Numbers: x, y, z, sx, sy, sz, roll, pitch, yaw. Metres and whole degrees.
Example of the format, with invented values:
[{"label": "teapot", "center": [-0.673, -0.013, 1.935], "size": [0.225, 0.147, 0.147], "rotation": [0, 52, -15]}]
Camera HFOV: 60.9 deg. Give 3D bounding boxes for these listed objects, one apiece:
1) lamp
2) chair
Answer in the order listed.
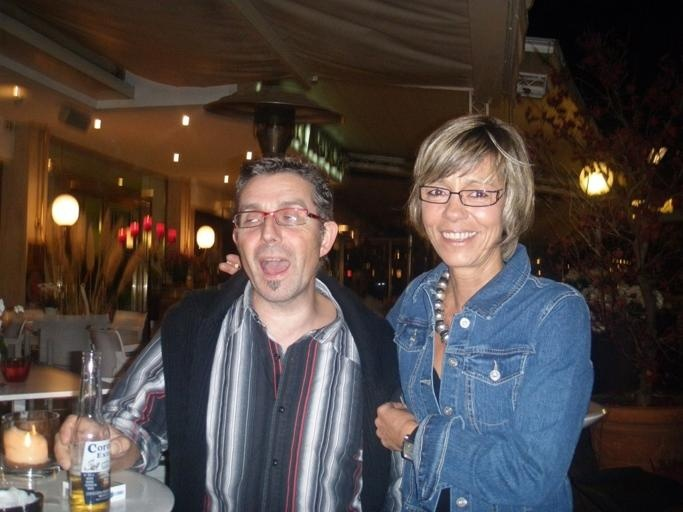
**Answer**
[{"label": "lamp", "center": [-0.650, -1.268, 5.636], "size": [1.240, 0.728, 1.245], "rotation": [6, 9, 28]}, {"label": "chair", "center": [-2.814, 0.867, 6.008], "size": [0.929, 1.058, 0.777], "rotation": [10, -5, 13]}]
